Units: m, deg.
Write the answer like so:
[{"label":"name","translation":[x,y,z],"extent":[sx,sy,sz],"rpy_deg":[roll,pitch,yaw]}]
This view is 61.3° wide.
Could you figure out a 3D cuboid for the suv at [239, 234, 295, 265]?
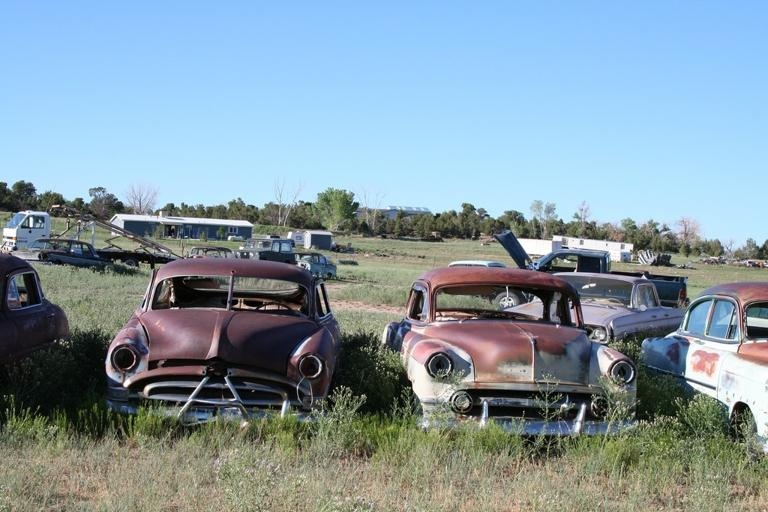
[{"label":"suv","translation":[-6.300,-0.324,35.087],"extent":[2.170,1.963,3.430],"rpy_deg":[-3,-6,43]}]

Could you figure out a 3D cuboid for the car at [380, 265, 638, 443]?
[{"label":"car","translation":[1.719,1.181,9.094],"extent":[2.778,1.998,2.840],"rpy_deg":[5,0,-7]}]

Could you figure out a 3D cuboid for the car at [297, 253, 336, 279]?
[{"label":"car","translation":[-2.872,0.398,27.951],"extent":[1.827,0.945,1.134],"rpy_deg":[8,-1,-12]}]

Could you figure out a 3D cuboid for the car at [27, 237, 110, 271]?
[{"label":"car","translation":[-12.840,-0.087,26.064],"extent":[2.598,0.890,1.617],"rpy_deg":[3,7,-25]}]

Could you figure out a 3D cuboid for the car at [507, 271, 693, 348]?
[{"label":"car","translation":[4.946,1.007,13.622],"extent":[1.827,1.093,3.427],"rpy_deg":[1,0,27]}]
